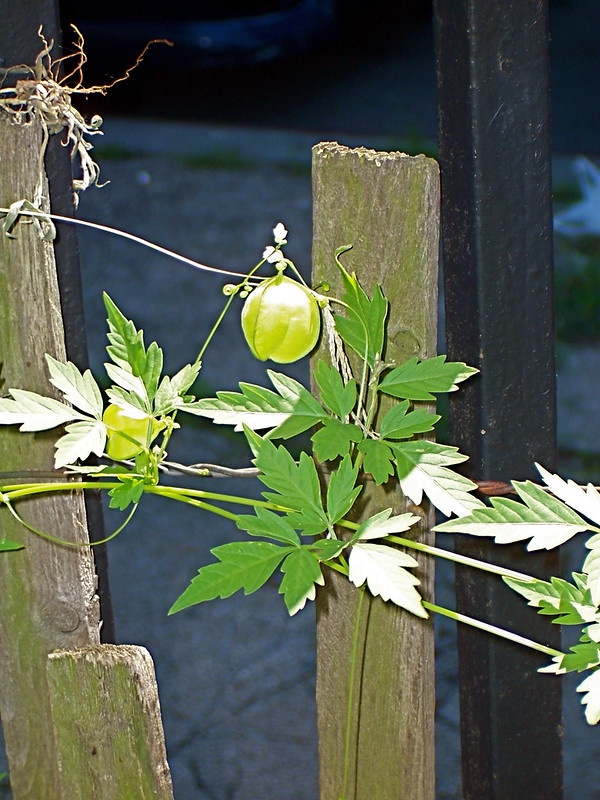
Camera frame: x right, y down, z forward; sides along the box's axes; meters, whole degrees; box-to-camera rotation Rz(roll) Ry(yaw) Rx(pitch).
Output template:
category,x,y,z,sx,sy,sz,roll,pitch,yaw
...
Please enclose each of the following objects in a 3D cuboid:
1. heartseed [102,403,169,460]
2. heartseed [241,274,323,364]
category,x,y,z,sx,sy,sz,roll,pitch,yaw
heartseed,-0.216,0.044,1.581,0.098,0.078,0.064,5,9,43
heartseed,-0.024,-0.100,1.470,0.107,0.111,0.069,4,10,6
